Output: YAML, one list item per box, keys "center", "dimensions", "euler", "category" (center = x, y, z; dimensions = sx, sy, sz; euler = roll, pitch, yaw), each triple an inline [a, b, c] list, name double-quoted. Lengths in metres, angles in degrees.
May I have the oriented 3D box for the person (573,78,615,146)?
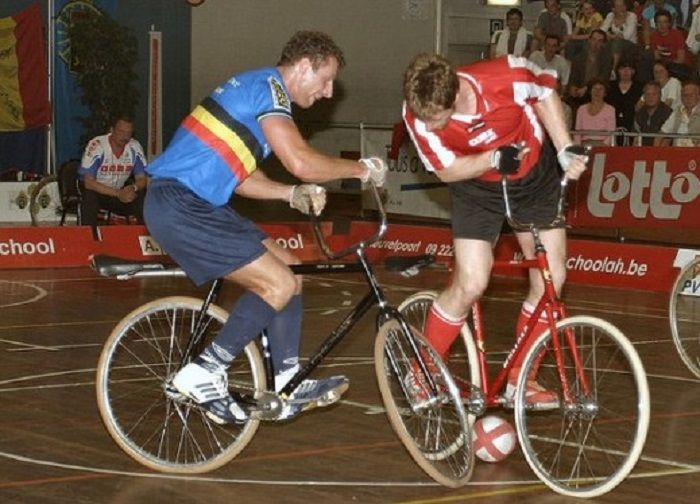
- center: [4.139, -2.336, 11.193]
  dimensions: [0.740, 1.168, 0.731]
  euler: [11, 20, 35]
  category: "person"

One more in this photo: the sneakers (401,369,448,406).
- center: [0.406, 0.765, 3.703]
  dimensions: [0.219, 0.184, 0.176]
  euler: [-11, -7, 41]
  category: "sneakers"

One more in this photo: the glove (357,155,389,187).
- center: [0.125, -0.441, 3.601]
  dimensions: [0.149, 0.165, 0.212]
  euler: [8, 14, 14]
  category: "glove"

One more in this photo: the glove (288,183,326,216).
- center: [-0.239, -0.292, 3.615]
  dimensions: [0.197, 0.187, 0.266]
  euler: [2, 14, -6]
  category: "glove"

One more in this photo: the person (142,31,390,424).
- center: [-0.575, -0.106, 3.742]
  dimensions: [1.138, 2.293, 0.665]
  euler: [0, 14, -18]
  category: "person"

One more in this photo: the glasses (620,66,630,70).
- center: [4.846, -3.226, 11.491]
  dimensions: [0.139, 0.050, 0.033]
  euler: [7, 14, 13]
  category: "glasses"

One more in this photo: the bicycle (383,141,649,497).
- center: [0.882, 0.329, 3.765]
  dimensions: [1.421, 1.893, 1.059]
  euler: [5, 14, 3]
  category: "bicycle"

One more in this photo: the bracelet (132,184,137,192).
- center: [-3.412, -1.019, 10.395]
  dimensions: [0.070, 0.090, 0.025]
  euler: [-1, 5, 7]
  category: "bracelet"

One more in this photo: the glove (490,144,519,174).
- center: [0.846, -0.503, 3.533]
  dimensions: [0.155, 0.148, 0.061]
  euler: [6, 6, 6]
  category: "glove"
